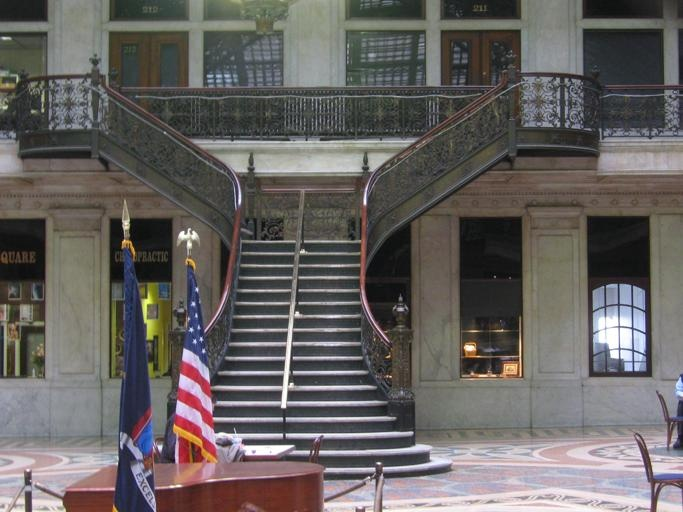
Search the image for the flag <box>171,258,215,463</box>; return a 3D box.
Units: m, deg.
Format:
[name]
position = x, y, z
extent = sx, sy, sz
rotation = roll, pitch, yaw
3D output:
[flag]
position = -2.205, 1.557, 26.684
extent = 0.674, 3.056, 0.707
rotation = -3, -3, 41
